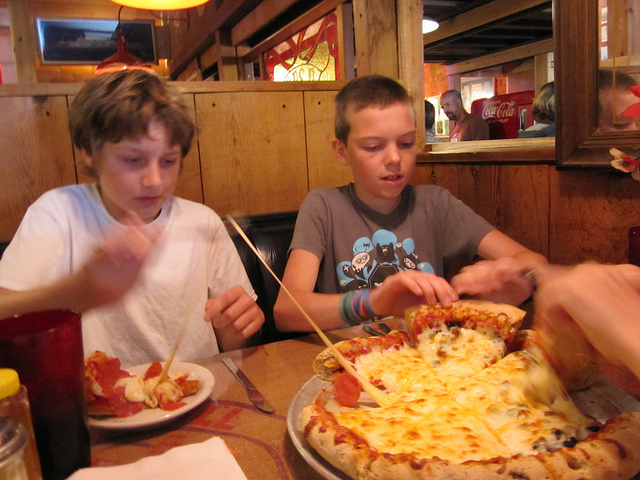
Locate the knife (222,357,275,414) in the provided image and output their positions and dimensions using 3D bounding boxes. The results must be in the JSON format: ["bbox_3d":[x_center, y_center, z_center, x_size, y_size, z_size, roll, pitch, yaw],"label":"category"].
[{"bbox_3d":[-0.161,0.269,1.043,0.041,0.008,0.371,1,10,-24],"label":"knife"}]

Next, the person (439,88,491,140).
[{"bbox_3d":[1.822,-1.490,6.110,0.474,0.835,0.850,-5,6,5],"label":"person"}]

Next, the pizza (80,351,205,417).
[{"bbox_3d":[-0.343,0.251,0.930,0.157,0.061,0.156,0,5,-6],"label":"pizza"}]

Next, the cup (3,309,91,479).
[{"bbox_3d":[-0.420,0.236,0.769,0.111,0.250,0.164,-13,20,-29],"label":"cup"}]

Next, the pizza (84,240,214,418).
[{"bbox_3d":[-0.339,0.236,0.956,0.177,0.193,0.167,11,-7,-39],"label":"pizza"}]
